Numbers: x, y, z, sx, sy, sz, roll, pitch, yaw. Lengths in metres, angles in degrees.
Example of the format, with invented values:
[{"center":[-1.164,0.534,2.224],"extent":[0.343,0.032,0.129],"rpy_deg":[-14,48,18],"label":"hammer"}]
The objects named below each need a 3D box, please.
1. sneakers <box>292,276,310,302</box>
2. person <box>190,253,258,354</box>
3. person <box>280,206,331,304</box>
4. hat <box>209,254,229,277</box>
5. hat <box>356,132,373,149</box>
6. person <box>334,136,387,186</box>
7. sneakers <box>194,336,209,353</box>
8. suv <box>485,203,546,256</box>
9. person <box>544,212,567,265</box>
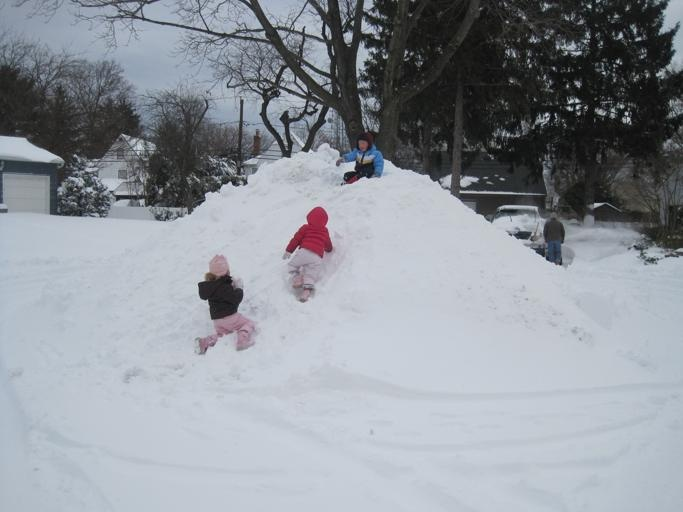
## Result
[{"center":[-0.671,0.545,11.731],"extent":[0.250,0.116,0.403],"rpy_deg":[-29,30,-10],"label":"sneakers"},{"center":[-1.921,0.687,11.392],"extent":[0.854,1.650,0.672],"rpy_deg":[-4,14,3],"label":"person"},{"center":[-0.576,-0.096,12.074],"extent":[0.730,1.924,0.572],"rpy_deg":[-13,32,-38],"label":"person"},{"center":[-1.923,0.141,11.299],"extent":[0.241,0.335,0.303],"rpy_deg":[5,12,34],"label":"hat"},{"center":[0.467,-2.246,14.029],"extent":[0.288,0.377,0.330],"rpy_deg":[0,2,-1],"label":"hat"},{"center":[0.437,-1.918,14.039],"extent":[0.671,0.983,1.326],"rpy_deg":[-2,3,-36],"label":"person"},{"center":[-2.130,1.387,11.017],"extent":[0.172,0.399,0.212],"rpy_deg":[0,-13,2],"label":"sneakers"},{"center":[5.041,-0.772,19.989],"extent":[1.039,1.070,2.534],"rpy_deg":[0,0,20],"label":"suv"},{"center":[5.380,-0.431,18.234],"extent":[0.493,1.363,2.068],"rpy_deg":[0,3,16],"label":"person"}]
